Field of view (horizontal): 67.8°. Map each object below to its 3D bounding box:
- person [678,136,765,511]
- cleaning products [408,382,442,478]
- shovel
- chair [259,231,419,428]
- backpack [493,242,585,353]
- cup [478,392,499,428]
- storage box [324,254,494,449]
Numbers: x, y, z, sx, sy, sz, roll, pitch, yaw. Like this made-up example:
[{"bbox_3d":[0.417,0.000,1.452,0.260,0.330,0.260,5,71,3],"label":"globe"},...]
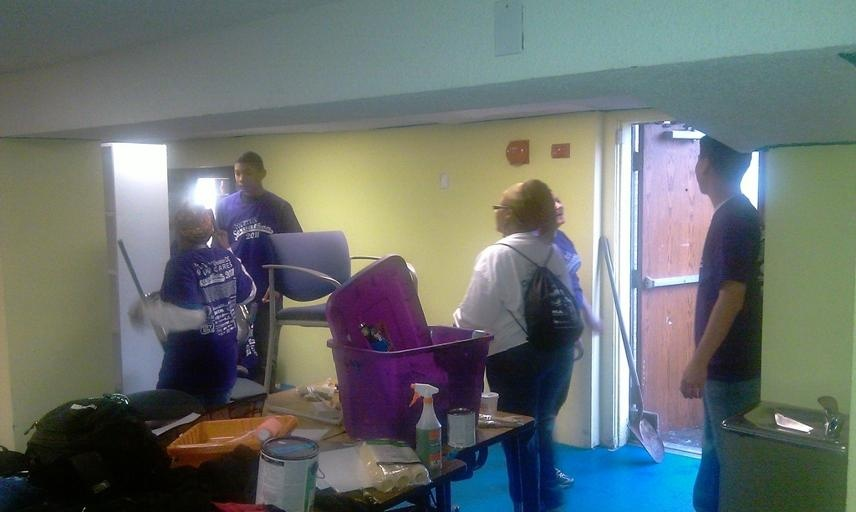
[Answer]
[{"bbox_3d":[1.446,0.428,3.114,0.344,2.021,0.647,1,6,26],"label":"person"},{"bbox_3d":[0.001,0.664,2.510,0.114,0.343,0.181,-2,5,2],"label":"cleaning products"},{"bbox_3d":[1.545,0.658,4.660,0.320,1.613,0.433,-8,8,-44],"label":"shovel"},{"bbox_3d":[-0.461,0.326,3.467,0.675,0.863,0.785,2,7,23],"label":"chair"},{"bbox_3d":[0.623,0.260,3.405,0.613,0.550,0.382,3,5,43],"label":"backpack"},{"bbox_3d":[0.282,0.682,2.826,0.128,0.117,0.118,0,2,0],"label":"cup"},{"bbox_3d":[-0.058,0.431,2.691,0.604,0.556,0.417,-4,0,-29],"label":"storage box"}]
